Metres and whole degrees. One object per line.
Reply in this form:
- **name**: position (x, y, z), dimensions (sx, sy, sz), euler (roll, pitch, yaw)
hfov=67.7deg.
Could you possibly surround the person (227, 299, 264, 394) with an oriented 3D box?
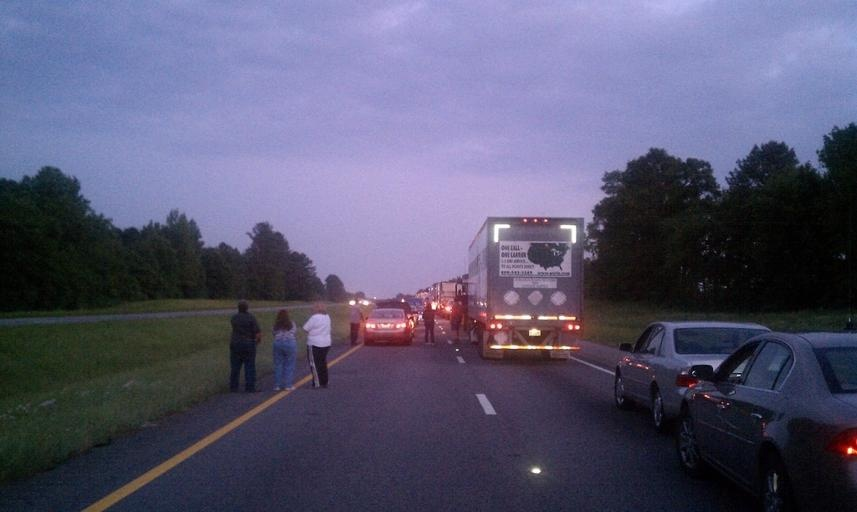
- **person**: position (-5.146, 2.473, 17.866), dimensions (0.781, 2.434, 1.358), euler (0, -3, -18)

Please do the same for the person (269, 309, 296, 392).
- **person**: position (-4.048, 2.582, 17.937), dimensions (0.584, 2.173, 0.773), euler (0, -2, -15)
